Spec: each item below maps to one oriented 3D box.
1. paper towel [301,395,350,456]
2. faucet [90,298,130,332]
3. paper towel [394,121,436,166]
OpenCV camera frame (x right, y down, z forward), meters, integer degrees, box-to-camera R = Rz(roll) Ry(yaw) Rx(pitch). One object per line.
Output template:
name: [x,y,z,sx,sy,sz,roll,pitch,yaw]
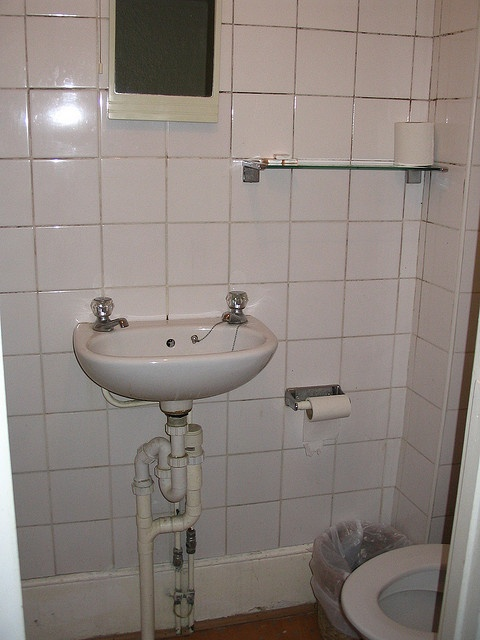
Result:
paper towel: [0.260,0.326,1.801,0.146,0.264,0.077,-8,24,-17]
faucet: [-0.349,-0.018,1.551,0.100,0.105,0.067,1,19,-10]
paper towel: [0.470,-0.478,1.598,0.113,0.132,0.113,-1,7,-3]
